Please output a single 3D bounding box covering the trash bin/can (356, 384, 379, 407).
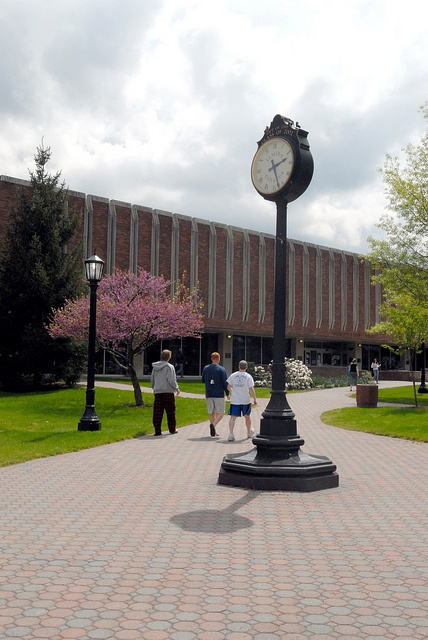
[{"bbox_3d":[5.288,2.598,20.769,0.749,0.774,0.763,-2,-5,30],"label":"trash bin/can"}]

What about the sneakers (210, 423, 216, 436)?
[{"bbox_3d":[-0.016,2.246,12.257,0.091,0.269,0.109,-5,1,19],"label":"sneakers"}]

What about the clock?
[{"bbox_3d":[0.924,-2.184,8.114,0.348,1.167,0.806,2,-2,-40],"label":"clock"}]

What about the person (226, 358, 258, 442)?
[{"bbox_3d":[0.558,1.588,11.834,0.530,1.591,1.436,0,-2,3],"label":"person"}]

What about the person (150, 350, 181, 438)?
[{"bbox_3d":[-1.027,1.519,12.567,0.550,1.781,1.205,0,-2,-6],"label":"person"}]

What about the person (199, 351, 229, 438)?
[{"bbox_3d":[0.042,1.548,12.474,0.489,1.747,1.432,0,-2,-2],"label":"person"}]

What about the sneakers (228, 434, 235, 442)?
[{"bbox_3d":[0.348,2.276,11.626,0.092,0.123,0.280,-1,-18,5],"label":"sneakers"}]

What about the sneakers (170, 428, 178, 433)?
[{"bbox_3d":[-0.839,2.356,12.754,0.165,0.072,0.071,-2,2,-44],"label":"sneakers"}]
